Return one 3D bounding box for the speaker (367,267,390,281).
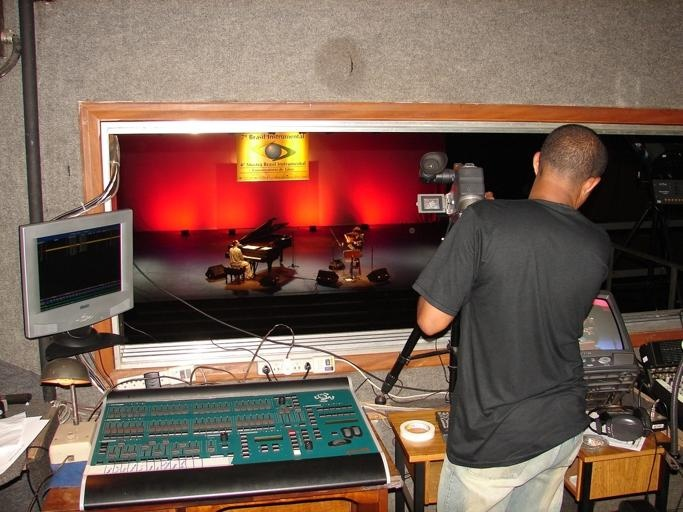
[{"bbox_3d":[0.474,0.260,7.684,0.215,0.054,0.193,-8,14,-2],"label":"speaker"}]

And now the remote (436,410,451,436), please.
[{"bbox_3d":[0.459,0.758,2.616,0.092,0.023,0.090,-4,20,-3],"label":"remote"}]

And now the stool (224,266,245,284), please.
[{"bbox_3d":[-1.428,0.248,7.643,0.170,0.216,0.157,17,32,32],"label":"stool"}]

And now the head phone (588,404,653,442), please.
[{"bbox_3d":[1.278,0.765,2.663,0.256,0.099,0.285,-9,4,-40],"label":"head phone"}]

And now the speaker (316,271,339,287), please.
[{"bbox_3d":[-0.191,0.286,7.532,0.303,0.184,0.381,-1,12,-2],"label":"speaker"}]

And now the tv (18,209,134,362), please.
[{"bbox_3d":[-1.154,0.080,2.537,0.514,0.551,0.124,-12,18,-42],"label":"tv"}]

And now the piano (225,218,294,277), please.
[{"bbox_3d":[-1.008,-0.175,7.410,0.906,0.879,0.721,14,18,32],"label":"piano"}]

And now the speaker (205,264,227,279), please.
[{"bbox_3d":[-1.754,0.223,7.940,0.223,0.138,0.255,10,12,36],"label":"speaker"}]

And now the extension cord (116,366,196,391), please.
[{"bbox_3d":[-0.889,0.591,2.736,0.359,0.083,0.160,-1,12,-4],"label":"extension cord"}]
